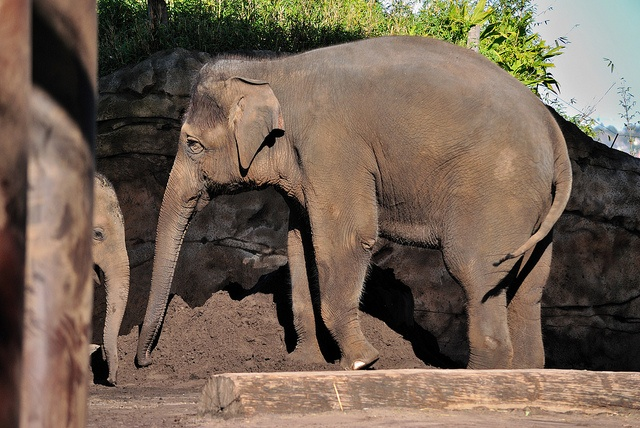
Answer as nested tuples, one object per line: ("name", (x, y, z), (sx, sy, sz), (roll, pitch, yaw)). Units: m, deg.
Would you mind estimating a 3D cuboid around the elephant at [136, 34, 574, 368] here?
("elephant", (0.467, -0.095, 7.205), (3.455, 2.770, 1.293), (15, 23, 11))
